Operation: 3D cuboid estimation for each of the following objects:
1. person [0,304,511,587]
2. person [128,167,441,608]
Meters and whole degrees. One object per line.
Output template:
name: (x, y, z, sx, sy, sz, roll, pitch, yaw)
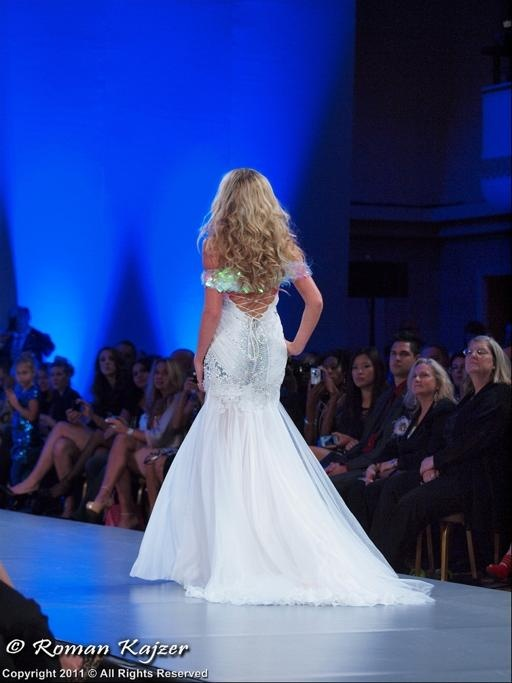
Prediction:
person: (-0.074, 0.518, 2.534, 1.404, 1.309, 0.939, 1, 3, -2)
person: (0.062, 0.139, 2.244, 1.001, 1.391, 0.855, 5, 5, 43)
